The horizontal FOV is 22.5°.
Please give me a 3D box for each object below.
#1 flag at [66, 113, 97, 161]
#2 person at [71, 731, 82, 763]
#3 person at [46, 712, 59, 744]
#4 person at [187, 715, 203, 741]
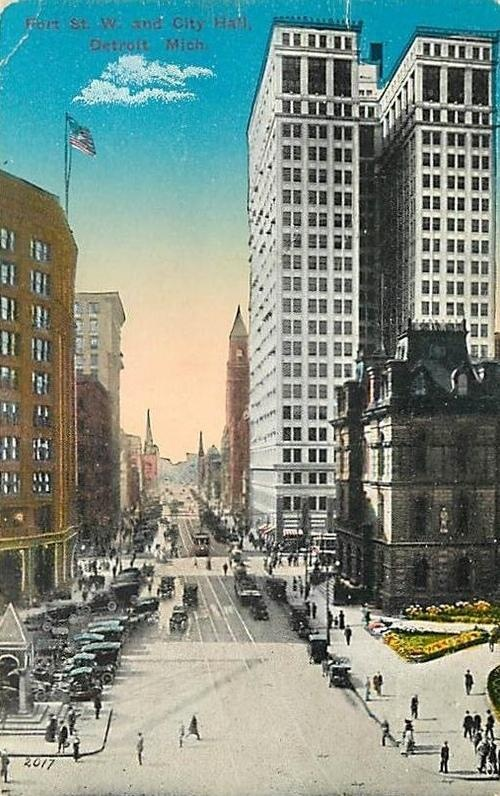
[{"bbox_3d":[-10.650,-16.256,78.657,1.657,2.594,2.157,0,4,-8],"label":"flag"},{"bbox_3d":[-7.384,14.927,53.690,0.376,0.893,1.861,0,4,-7],"label":"person"},{"bbox_3d":[-8.704,14.458,55.441,0.493,1.127,1.700,0,4,-7],"label":"person"},{"bbox_3d":[-2.415,14.250,54.898,0.542,1.075,1.715,0,4,-3],"label":"person"}]
